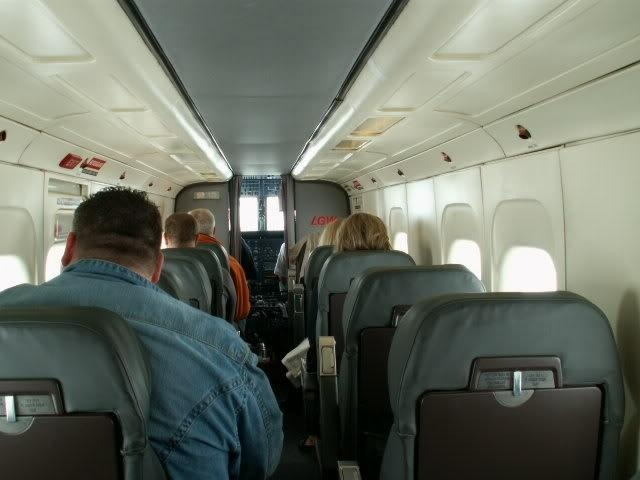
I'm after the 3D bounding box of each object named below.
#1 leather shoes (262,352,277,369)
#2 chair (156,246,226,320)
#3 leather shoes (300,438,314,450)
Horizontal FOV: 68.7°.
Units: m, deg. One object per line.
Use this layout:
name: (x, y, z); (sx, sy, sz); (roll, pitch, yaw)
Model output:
leather shoes: (-0.680, 1.643, 6.292); (0.149, 0.053, 0.153); (-33, -43, 19)
chair: (-0.998, 0.337, 3.906); (0.421, 0.640, 0.628); (-3, 9, 7)
leather shoes: (-0.109, 1.838, 4.149); (0.096, 0.120, 0.126); (3, 11, -2)
